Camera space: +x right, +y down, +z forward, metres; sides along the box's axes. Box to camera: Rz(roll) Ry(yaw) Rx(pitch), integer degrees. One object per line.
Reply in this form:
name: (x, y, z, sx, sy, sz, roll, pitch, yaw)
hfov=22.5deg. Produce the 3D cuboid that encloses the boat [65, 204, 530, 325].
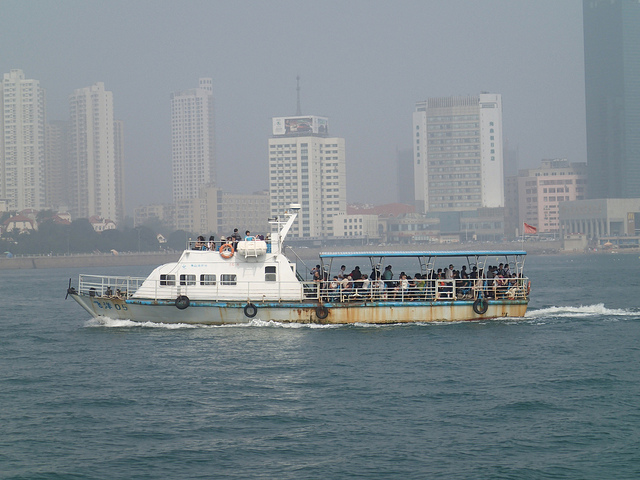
boat: (-1.920, 3.582, 236.260, 61.061, 17.841, 3.328, -2, 0, 0)
